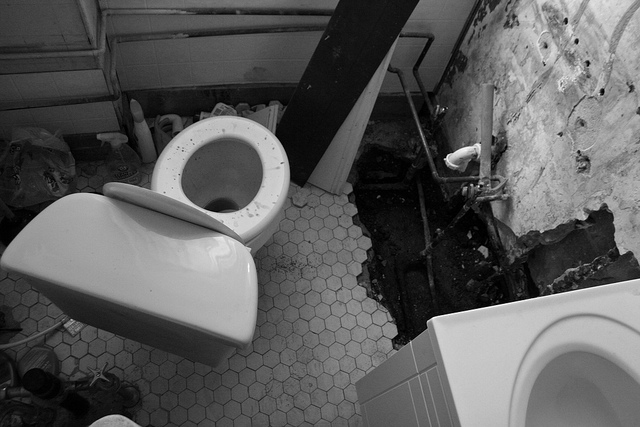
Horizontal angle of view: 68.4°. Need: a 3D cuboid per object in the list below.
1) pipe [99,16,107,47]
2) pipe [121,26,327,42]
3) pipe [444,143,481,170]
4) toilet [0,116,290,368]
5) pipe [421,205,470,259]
[{"bbox_3d":[-1.032,-0.868,2.245,0.028,0.058,0.177,-2,61,-11],"label":"pipe"},{"bbox_3d":[-0.537,-0.932,2.443,1.222,0.048,0.046,-4,22,-1],"label":"pipe"},{"bbox_3d":[0.683,-0.263,2.275,0.157,0.067,0.101,-18,66,19],"label":"pipe"},{"bbox_3d":[-0.566,0.050,2.011,0.878,0.773,0.930,18,59,1],"label":"toilet"},{"bbox_3d":[0.635,0.106,2.487,0.082,0.539,0.074,-14,64,-30],"label":"pipe"}]
